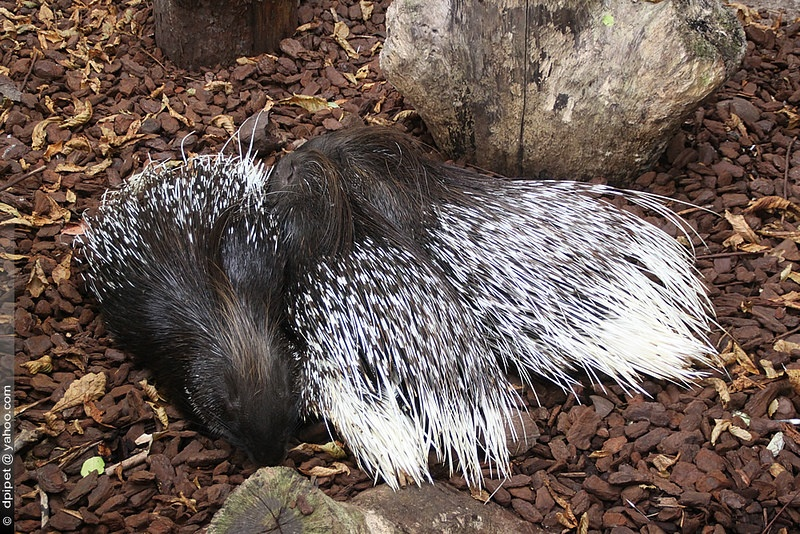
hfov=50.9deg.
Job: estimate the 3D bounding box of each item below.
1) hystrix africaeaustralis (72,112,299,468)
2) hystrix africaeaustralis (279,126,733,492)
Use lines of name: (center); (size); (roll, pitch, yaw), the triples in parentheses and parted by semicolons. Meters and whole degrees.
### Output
hystrix africaeaustralis: (-0.830, 0.211, 3.896); (0.824, 0.568, 1.359); (-27, 79, -6)
hystrix africaeaustralis: (0.352, 0.125, 3.655); (1.756, 0.705, 1.437); (-3, 51, -8)
